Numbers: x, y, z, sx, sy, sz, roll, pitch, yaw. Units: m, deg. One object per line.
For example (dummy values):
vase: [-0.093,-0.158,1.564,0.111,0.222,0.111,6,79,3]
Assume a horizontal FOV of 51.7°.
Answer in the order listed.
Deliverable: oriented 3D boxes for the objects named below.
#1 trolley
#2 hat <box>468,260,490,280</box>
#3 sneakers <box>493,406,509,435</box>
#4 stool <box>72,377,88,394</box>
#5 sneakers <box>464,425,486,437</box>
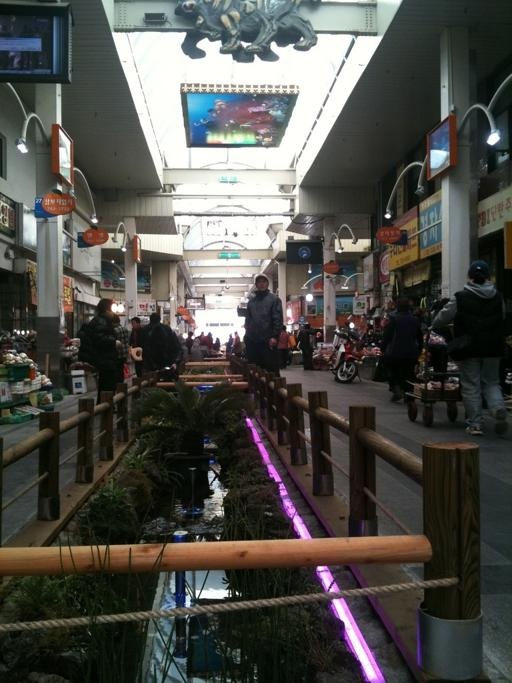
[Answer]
trolley: [2.319,0.591,6.904,0.538,0.918,0.949,3,-4,8]
hat: [2.474,-0.781,5.878,0.158,0.136,0.247,3,26,16]
sneakers: [2.513,0.819,5.439,0.114,0.299,0.161,-4,-1,26]
stool: [-3.980,0.990,11.927,0.324,0.474,0.329,0,4,-6]
sneakers: [2.305,0.939,5.562,0.082,0.092,0.192,1,4,8]
